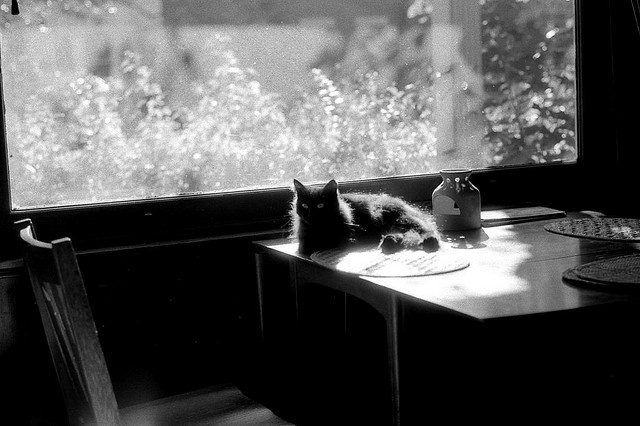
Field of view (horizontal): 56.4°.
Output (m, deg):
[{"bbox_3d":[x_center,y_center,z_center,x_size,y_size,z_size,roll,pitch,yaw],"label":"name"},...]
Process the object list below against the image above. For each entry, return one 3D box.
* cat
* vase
[{"bbox_3d":[0.145,-0.013,2.048,0.427,0.185,0.278,-3,3,-19],"label":"cat"},{"bbox_3d":[0.517,-0.057,2.241,0.216,0.237,0.215,-11,10,-42],"label":"vase"}]
